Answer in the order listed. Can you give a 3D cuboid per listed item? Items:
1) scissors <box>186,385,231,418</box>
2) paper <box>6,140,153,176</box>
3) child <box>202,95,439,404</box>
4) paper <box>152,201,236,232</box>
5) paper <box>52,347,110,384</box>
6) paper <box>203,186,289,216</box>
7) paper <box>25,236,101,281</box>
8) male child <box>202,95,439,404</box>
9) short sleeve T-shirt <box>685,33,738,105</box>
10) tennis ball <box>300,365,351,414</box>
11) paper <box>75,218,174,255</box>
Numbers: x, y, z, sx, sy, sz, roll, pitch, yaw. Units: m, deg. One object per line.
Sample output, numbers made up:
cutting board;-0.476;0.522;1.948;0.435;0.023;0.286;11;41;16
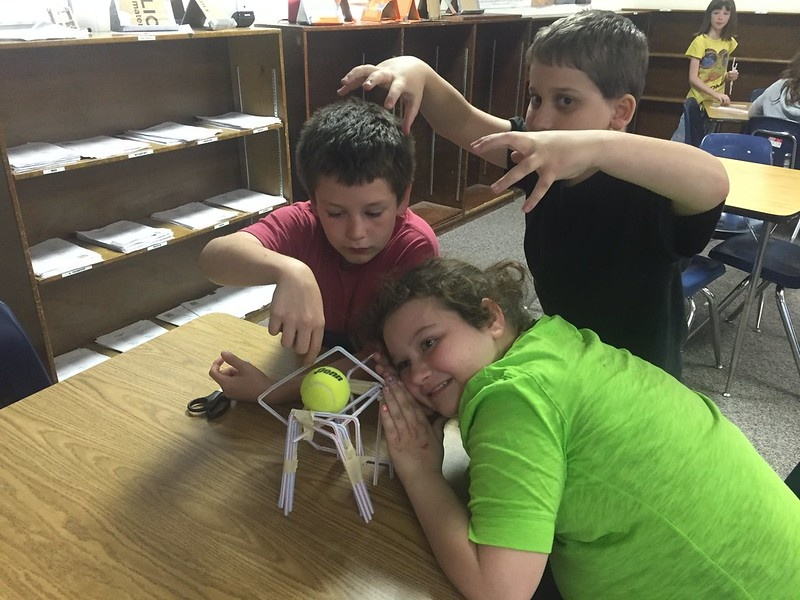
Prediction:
scissors;-0.412;0.218;1.262;0.046;0.025;0.088;10;25;40
paper;-1.370;-0.625;2.443;0.336;0.054;0.582;23;35;32
child;-0.196;-0.098;1.513;0.506;0.782;0.749;8;22;17
paper;-1.032;-0.428;2.948;0.220;0.035;0.240;18;28;26
paper;-1.204;0.242;2.179;0.142;0.034;0.135;12;20;30
paper;-0.832;-0.536;3.155;0.227;0.060;0.242;19;29;36
paper;-1.418;-0.171;2.438;0.212;0.055;0.225;13;27;14
male child;-0.189;-0.100;1.531;0.506;0.792;0.716;10;23;21
short sleeve T-shirt;3.044;-2.229;5.696;0.462;0.656;0.257;-11;27;-5
tennis ball;-0.131;0.159;1.041;0.079;0.072;0.085;2;29;-1
paper;-1.261;-0.304;2.716;0.360;0.052;0.308;18;33;25
